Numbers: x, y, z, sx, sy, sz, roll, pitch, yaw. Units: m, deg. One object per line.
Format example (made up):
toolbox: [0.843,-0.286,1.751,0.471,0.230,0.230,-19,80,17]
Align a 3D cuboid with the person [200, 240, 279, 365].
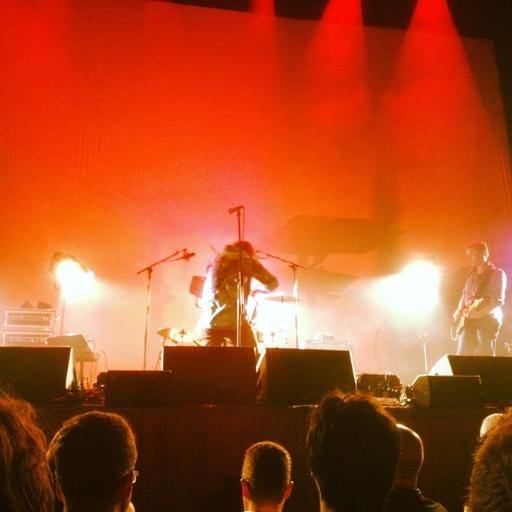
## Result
person: [-0.141,0.324,5.278,0.675,1.059,0.646,2,-12,-6]

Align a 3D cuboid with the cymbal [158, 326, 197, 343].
cymbal: [-0.795,0.791,5.622,0.374,0.150,0.693,3,-13,-10]

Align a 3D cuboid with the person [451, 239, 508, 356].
person: [2.409,0.453,6.051,0.513,1.214,0.522,-3,-12,20]

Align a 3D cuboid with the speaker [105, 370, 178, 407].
speaker: [-0.740,0.849,3.606,0.446,0.229,0.109,6,-13,-22]

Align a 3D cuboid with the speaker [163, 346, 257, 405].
speaker: [-0.314,0.796,3.792,0.626,0.372,0.120,4,-12,-16]
